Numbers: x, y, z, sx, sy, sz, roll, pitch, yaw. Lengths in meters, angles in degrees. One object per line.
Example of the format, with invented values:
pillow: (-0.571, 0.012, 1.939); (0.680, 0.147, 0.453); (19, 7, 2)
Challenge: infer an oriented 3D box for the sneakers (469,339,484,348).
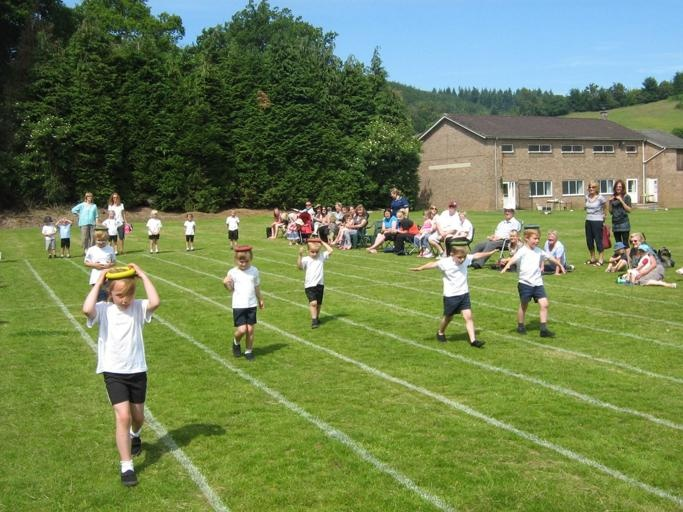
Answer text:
sneakers: (2.440, 1.548, 11.721); (0.112, 0.110, 0.245); (5, 6, 42)

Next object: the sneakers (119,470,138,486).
sneakers: (-2.393, 2.501, 7.463); (0.177, 0.148, 0.141); (-3, 10, -14)

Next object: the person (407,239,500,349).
person: (2.046, 0.685, 11.745); (0.892, 1.890, 1.128); (1, 10, 10)

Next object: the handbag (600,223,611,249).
handbag: (7.764, -0.586, 19.400); (0.190, 0.743, 0.543); (4, 11, 25)

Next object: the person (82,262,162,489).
person: (-2.545, 1.313, 7.656); (0.673, 2.413, 0.792); (2, 10, 14)

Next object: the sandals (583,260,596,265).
sandals: (7.695, 0.187, 20.157); (0.453, 0.164, 0.160); (3, -2, -33)

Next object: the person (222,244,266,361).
person: (-1.641, 0.768, 11.170); (0.585, 1.944, 0.739); (-2, 10, -8)

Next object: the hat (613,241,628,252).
hat: (7.807, -0.286, 18.510); (0.203, 0.112, 0.212); (-12, -8, -27)

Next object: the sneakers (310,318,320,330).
sneakers: (-0.522, 1.359, 13.231); (0.175, 0.192, 0.518); (-2, -4, 5)

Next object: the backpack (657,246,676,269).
backpack: (9.293, 0.056, 18.907); (0.347, 0.629, 0.509); (-23, 3, 9)
